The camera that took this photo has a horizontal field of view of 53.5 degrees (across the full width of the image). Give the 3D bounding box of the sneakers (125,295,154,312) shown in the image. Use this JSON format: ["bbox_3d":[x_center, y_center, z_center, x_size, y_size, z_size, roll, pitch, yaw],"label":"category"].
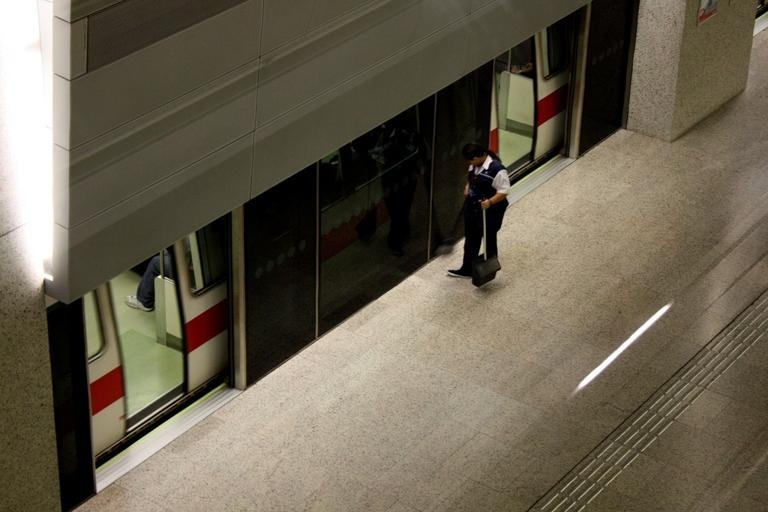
[{"bbox_3d":[-2.665,0.533,8.232,0.259,0.127,0.107,23,16,-26],"label":"sneakers"}]

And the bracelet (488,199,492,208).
[{"bbox_3d":[1.372,-0.687,9.929,0.059,0.092,0.096,6,0,18],"label":"bracelet"}]

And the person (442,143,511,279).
[{"bbox_3d":[1.319,-0.588,10.314,0.761,2.031,0.763,15,38,26],"label":"person"}]

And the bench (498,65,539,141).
[{"bbox_3d":[2.030,-2.396,11.643,0.338,1.066,1.082,5,5,34],"label":"bench"}]
